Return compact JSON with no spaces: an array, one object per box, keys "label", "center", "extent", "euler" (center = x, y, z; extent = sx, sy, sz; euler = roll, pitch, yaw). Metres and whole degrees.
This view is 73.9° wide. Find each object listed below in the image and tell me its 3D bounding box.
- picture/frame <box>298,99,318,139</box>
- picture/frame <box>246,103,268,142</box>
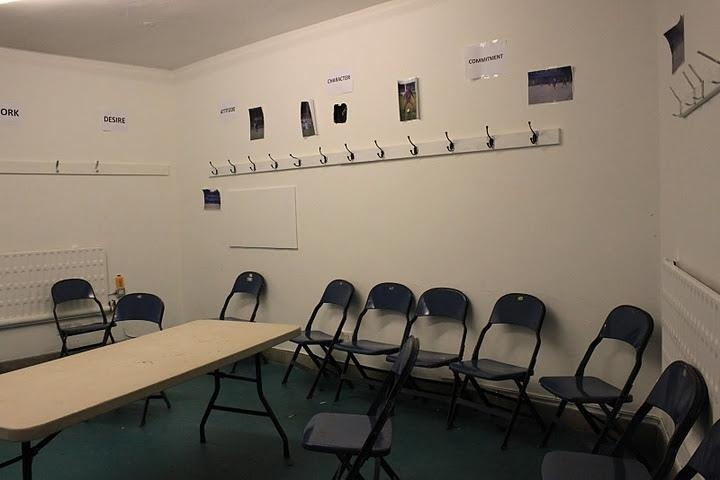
[{"label":"picture/frame","center":[-0.616,-1.431,5.657],"extent":[0.204,0.396,0.039],"euler":[1,13,33]},{"label":"picture/frame","center":[-1.277,-1.486,5.993],"extent":[0.432,0.633,0.028],"euler":[5,9,34]}]
